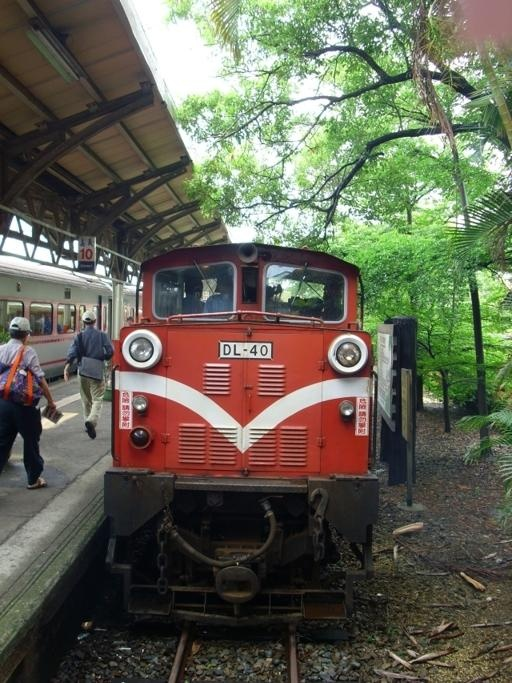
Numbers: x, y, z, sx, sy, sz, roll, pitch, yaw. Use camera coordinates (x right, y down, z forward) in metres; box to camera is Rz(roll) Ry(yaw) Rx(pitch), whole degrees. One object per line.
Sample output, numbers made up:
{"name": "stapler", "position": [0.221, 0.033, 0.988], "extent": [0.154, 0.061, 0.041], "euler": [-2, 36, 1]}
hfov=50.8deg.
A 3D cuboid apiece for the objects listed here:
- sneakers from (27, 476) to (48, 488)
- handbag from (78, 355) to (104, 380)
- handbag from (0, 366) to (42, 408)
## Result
{"name": "sneakers", "position": [-2.231, 1.427, 5.454], "extent": [0.068, 0.124, 0.132], "euler": [32, 45, 30]}
{"name": "handbag", "position": [-2.302, 0.384, 7.505], "extent": [0.354, 0.336, 0.241], "euler": [-1, 0, -19]}
{"name": "handbag", "position": [-2.200, 0.414, 4.977], "extent": [0.327, 0.297, 0.135], "euler": [17, -19, -29]}
